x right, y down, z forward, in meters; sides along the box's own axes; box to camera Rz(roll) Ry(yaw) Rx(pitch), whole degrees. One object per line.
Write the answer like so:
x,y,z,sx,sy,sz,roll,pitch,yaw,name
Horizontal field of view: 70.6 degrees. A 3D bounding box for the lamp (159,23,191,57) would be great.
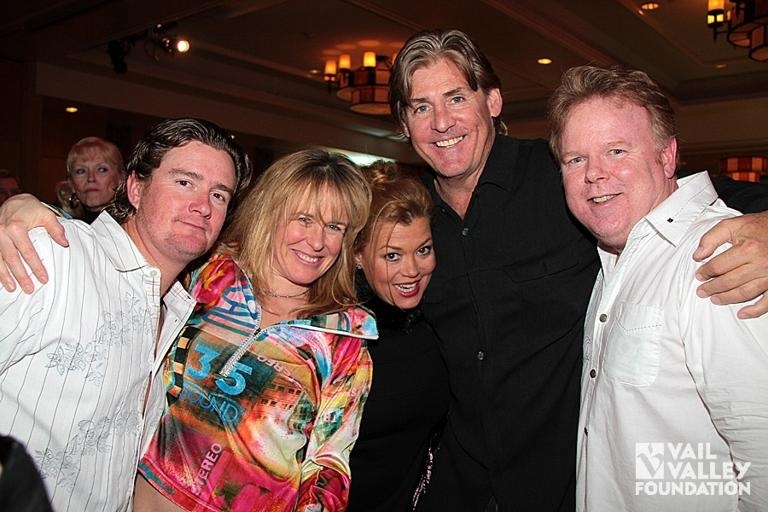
-3.290,-3.120,8.424,0.457,0.380,1.128,-1,4,-15,lamp
